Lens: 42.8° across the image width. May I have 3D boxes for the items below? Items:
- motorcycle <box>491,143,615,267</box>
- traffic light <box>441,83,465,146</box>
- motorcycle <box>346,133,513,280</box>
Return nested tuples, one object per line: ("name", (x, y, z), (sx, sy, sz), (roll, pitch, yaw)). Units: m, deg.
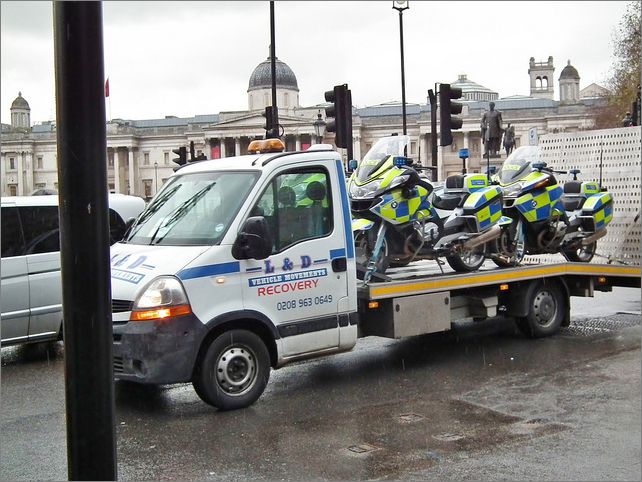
("motorcycle", (3.377, -0.451, 11.956), (2.693, 1.730, 0.956), (2, -6, -41))
("traffic light", (2.231, -2.133, 14.153), (0.457, 1.174, 0.230), (-2, -21, 11))
("motorcycle", (1.262, -0.389, 10.393), (2.554, 1.752, 0.933), (0, -5, -40))
